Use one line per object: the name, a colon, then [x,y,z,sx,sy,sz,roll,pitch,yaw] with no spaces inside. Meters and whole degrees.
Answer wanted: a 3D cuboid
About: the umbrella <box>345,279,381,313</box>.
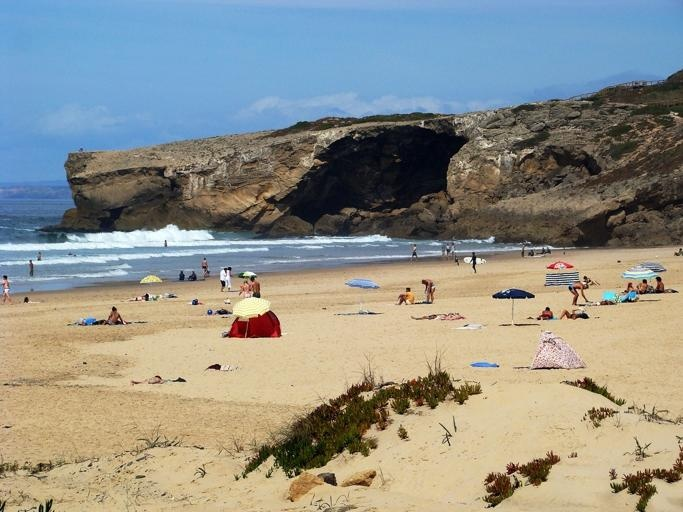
umbrella: [0.906,1.431,29.720,1.333,1.151,1.250,2,-8,-10]
